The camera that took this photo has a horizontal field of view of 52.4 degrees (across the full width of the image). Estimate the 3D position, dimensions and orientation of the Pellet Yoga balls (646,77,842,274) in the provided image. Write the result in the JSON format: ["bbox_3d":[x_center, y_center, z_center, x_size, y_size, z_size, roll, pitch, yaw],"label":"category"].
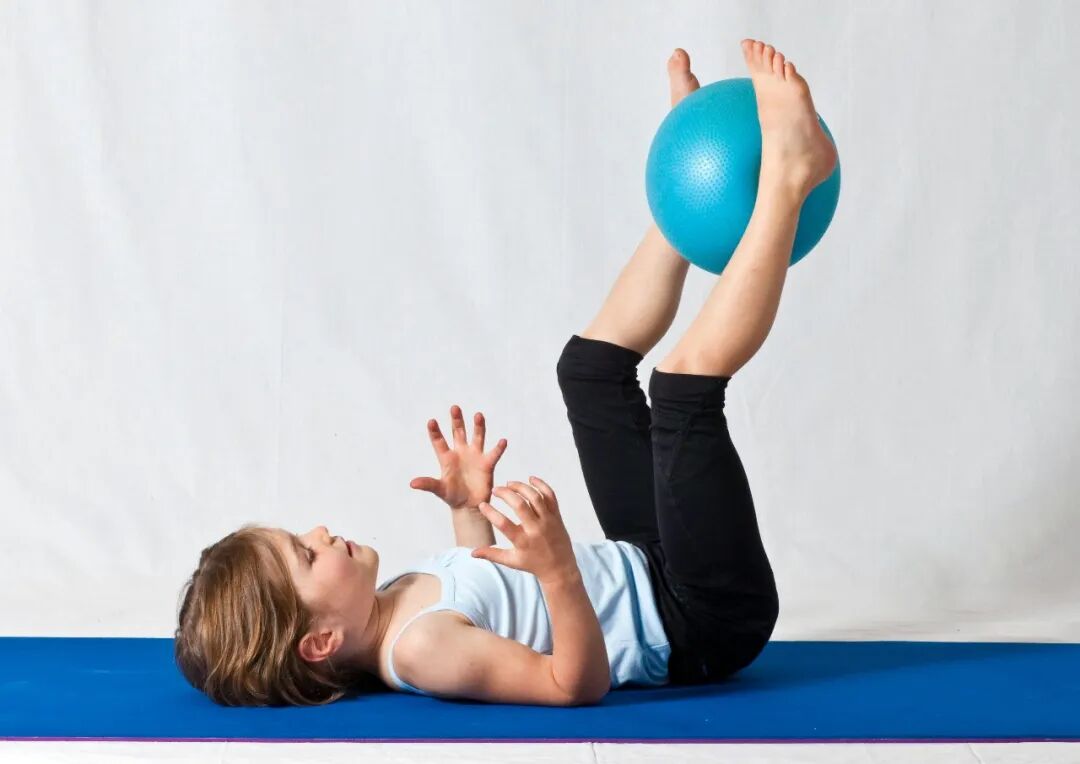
[{"bbox_3d":[0.446,-0.517,2.820,0.358,0.462,0.381,-6,6,1],"label":"Pellet Yoga balls"}]

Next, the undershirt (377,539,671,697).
[{"bbox_3d":[0.005,0.541,2.742,0.589,0.257,0.383,0,1,-5],"label":"undershirt"}]

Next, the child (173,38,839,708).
[{"bbox_3d":[-0.034,-0.004,2.661,1.426,1.591,0.869,-12,22,-36],"label":"child"}]
